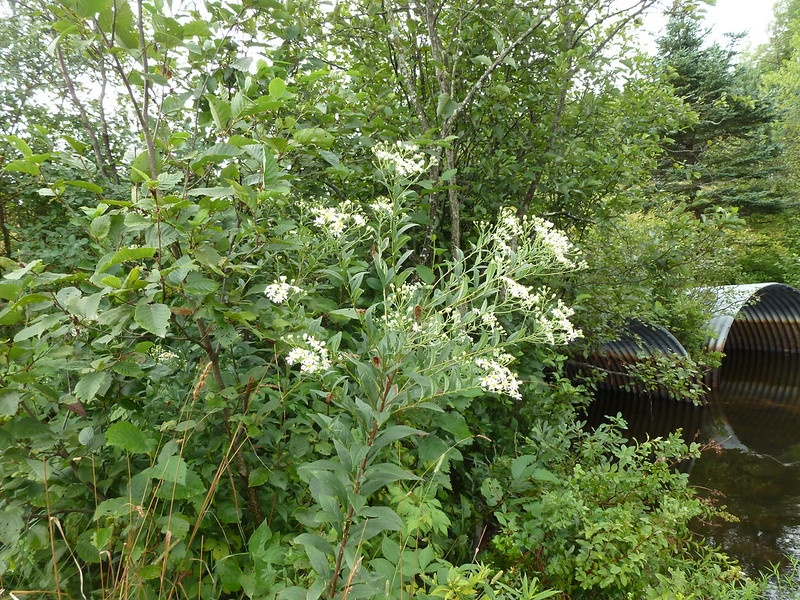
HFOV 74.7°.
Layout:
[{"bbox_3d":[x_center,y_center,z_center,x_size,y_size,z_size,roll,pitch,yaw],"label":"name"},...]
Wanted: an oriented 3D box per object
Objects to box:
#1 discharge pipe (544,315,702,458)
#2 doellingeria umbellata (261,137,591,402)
[{"bbox_3d":[4.101,1.381,9.885,2.224,1.467,3.472,-12,20,-30],"label":"discharge pipe"},{"bbox_3d":[0.285,-0.235,3.621,1.774,2.147,1.806,0,-2,16],"label":"doellingeria umbellata"}]
